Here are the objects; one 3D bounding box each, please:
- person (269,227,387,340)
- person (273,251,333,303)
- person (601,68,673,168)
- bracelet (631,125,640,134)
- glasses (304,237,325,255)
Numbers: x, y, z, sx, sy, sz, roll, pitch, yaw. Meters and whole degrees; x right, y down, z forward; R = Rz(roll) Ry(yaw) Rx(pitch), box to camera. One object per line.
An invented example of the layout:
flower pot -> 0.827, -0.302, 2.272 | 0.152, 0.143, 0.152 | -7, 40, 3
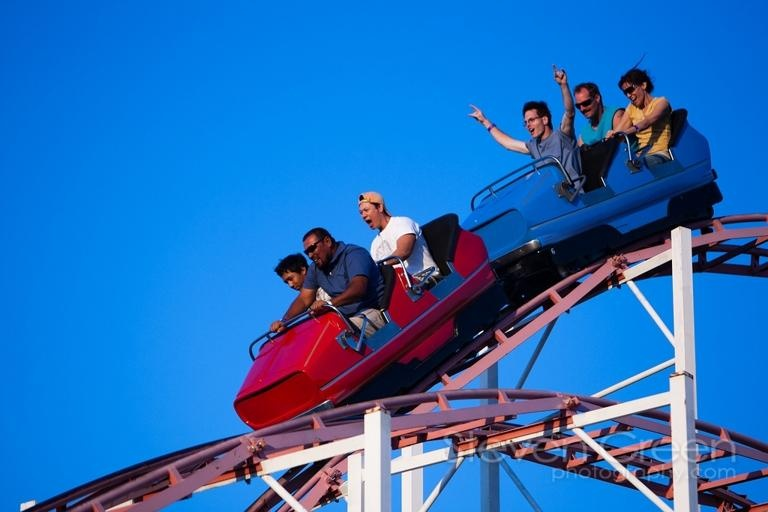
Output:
person -> -0.495, 0.405, 15.586 | 0.853, 1.213, 0.600 | -3, -42, -26
person -> -0.858, 0.301, 16.970 | 0.614, 0.484, 0.730 | -33, -18, 13
person -> 3.276, -1.766, 17.728 | 0.752, 1.301, 0.739 | -9, -10, 23
bracelet -> 3.160, -1.591, 17.317 | 0.073, 0.106, 0.041 | -2, -2, 8
glasses -> -0.779, -0.117, 15.877 | 0.167, 0.051, 0.157 | -25, -7, -44
